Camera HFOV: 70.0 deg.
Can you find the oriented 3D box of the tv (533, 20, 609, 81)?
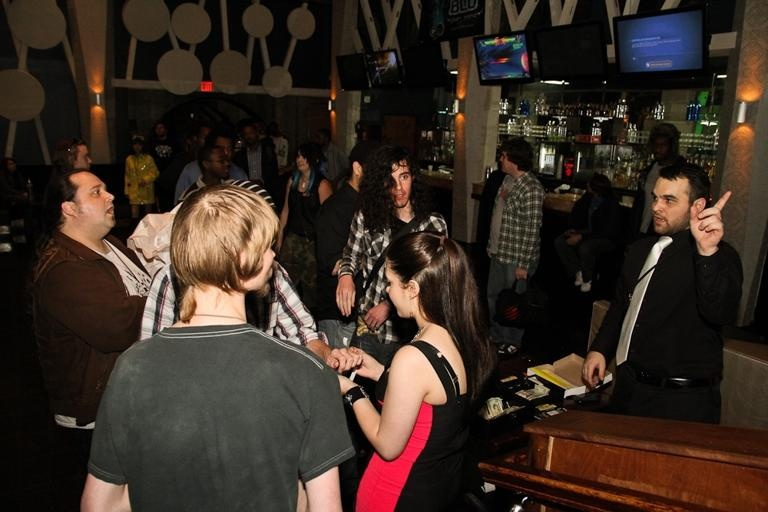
[{"bbox_3d":[2.452,-2.678,7.245,1.027,0.712,0.081,-15,9,-18],"label":"tv"}]

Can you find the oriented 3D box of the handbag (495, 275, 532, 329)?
[{"bbox_3d":[1.281,0.448,5.432,0.363,0.475,0.218,32,18,24],"label":"handbag"}]

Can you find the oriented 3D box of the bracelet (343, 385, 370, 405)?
[{"bbox_3d":[-0.141,0.692,2.767,0.103,0.085,0.112,3,-9,-22],"label":"bracelet"}]

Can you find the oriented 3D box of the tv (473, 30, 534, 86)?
[{"bbox_3d":[1.798,-2.987,8.248,0.111,0.766,1.031,-27,24,-38],"label":"tv"}]

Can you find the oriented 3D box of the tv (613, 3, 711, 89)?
[{"bbox_3d":[3.267,-2.503,6.468,0.193,0.977,1.356,-23,24,-40],"label":"tv"}]

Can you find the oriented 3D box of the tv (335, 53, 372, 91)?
[{"bbox_3d":[-0.654,-3.880,11.614,0.085,0.747,1.030,21,30,40],"label":"tv"}]

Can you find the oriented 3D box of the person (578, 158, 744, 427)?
[{"bbox_3d":[1.696,0.225,3.213,0.633,1.495,0.526,7,14,31],"label":"person"}]

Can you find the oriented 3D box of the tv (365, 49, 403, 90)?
[{"bbox_3d":[-0.022,-3.712,10.884,0.901,0.669,0.095,11,33,42],"label":"tv"}]
